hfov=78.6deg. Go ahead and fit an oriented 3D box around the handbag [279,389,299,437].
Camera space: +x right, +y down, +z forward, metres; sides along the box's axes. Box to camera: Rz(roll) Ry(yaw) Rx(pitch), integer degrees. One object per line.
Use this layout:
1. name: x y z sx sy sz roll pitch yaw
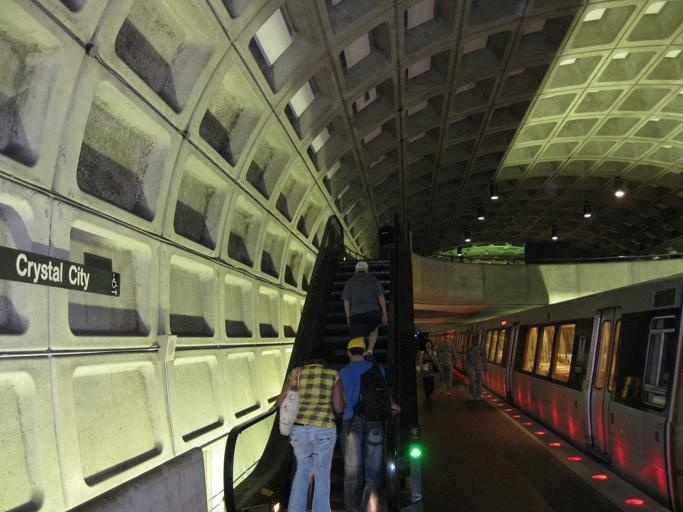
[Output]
1. handbag: -0.599 1.786 4.738 0.226 0.498 0.199 2 -9 -22
